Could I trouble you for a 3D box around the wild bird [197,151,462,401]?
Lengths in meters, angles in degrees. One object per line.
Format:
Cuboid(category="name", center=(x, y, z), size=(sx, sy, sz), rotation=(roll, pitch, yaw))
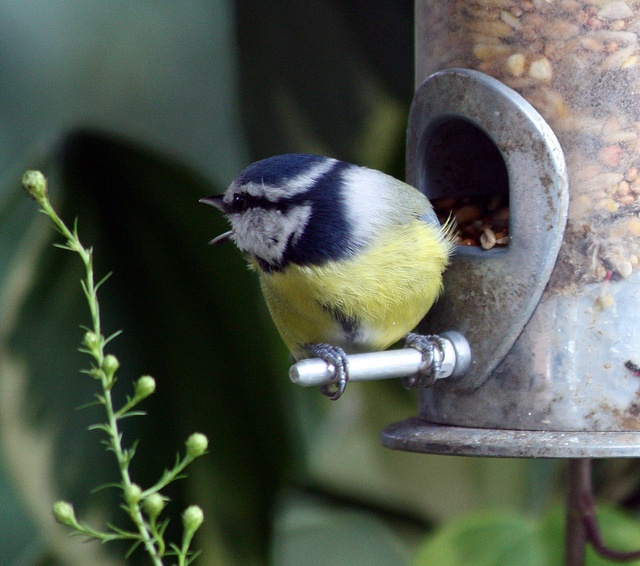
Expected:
Cuboid(category="wild bird", center=(0.072, -0.032, 1.702), size=(0.490, 0.355, 0.408), rotation=(-13, 92, -33))
